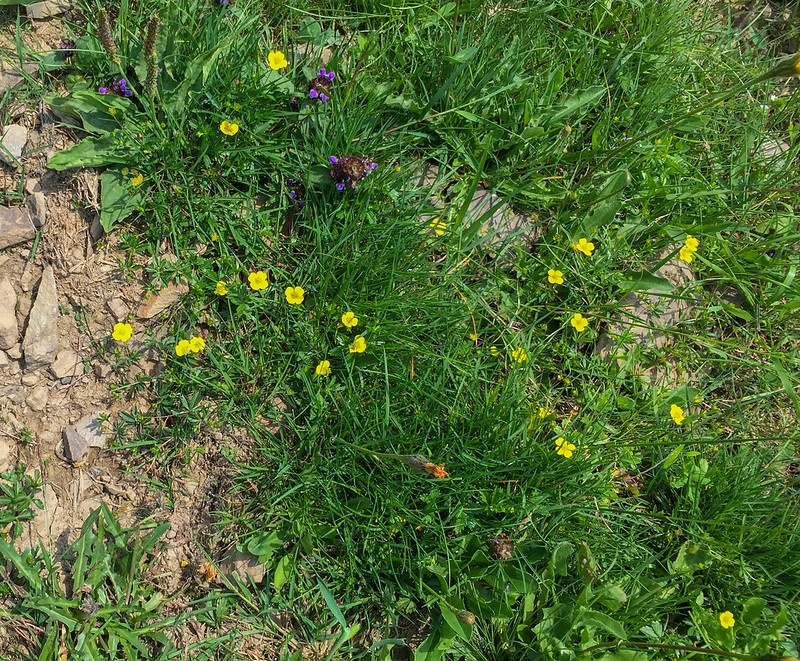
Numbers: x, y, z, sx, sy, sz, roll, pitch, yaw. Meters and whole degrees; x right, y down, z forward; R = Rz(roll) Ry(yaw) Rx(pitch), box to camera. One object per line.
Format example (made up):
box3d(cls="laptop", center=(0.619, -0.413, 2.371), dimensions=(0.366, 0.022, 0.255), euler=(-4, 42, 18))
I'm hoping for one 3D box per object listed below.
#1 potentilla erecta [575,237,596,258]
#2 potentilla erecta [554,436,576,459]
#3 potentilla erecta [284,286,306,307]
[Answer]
box3d(cls="potentilla erecta", center=(1.012, -0.455, 3.838), dimensions=(0.099, 0.031, 0.110), euler=(2, 91, -12))
box3d(cls="potentilla erecta", center=(0.819, 0.582, 3.436), dimensions=(0.112, 0.097, 0.097), euler=(19, 68, -4))
box3d(cls="potentilla erecta", center=(-0.529, -0.179, 3.515), dimensions=(0.090, 0.106, 0.098), euler=(-1, 71, -11))
